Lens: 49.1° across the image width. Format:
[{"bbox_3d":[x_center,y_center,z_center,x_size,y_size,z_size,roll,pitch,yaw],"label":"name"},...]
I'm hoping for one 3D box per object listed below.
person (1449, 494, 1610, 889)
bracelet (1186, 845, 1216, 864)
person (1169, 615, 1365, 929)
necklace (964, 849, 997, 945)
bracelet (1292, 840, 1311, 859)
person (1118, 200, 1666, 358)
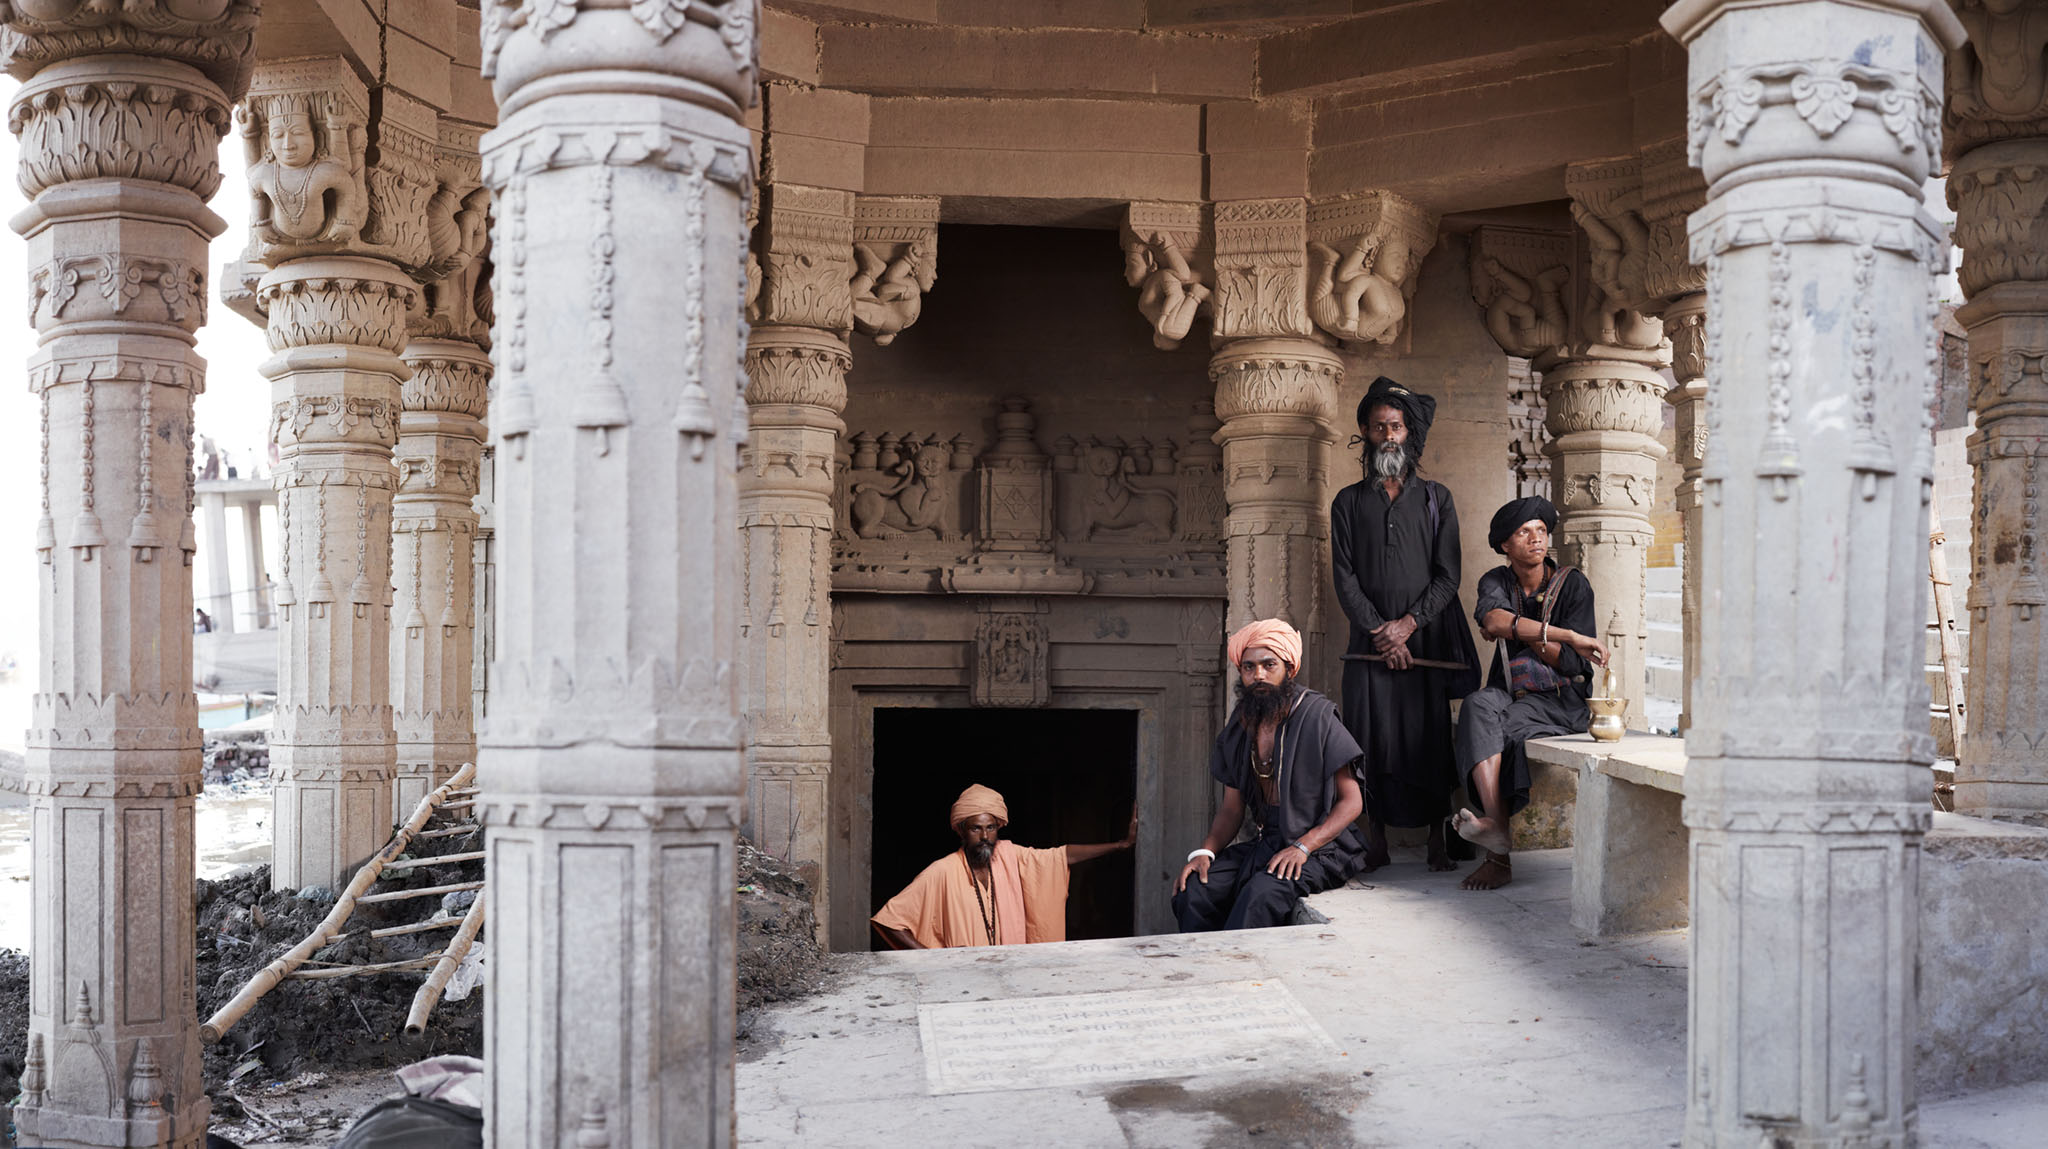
[{"bbox_3d":[2.872,0.662,12.799,0.762,2.072,1.098,0,9,14],"label":"person"},{"bbox_3d":[0.928,1.550,12.325,0.169,0.061,0.164,-5,-3,33],"label":"bracelet"},{"bbox_3d":[1.339,1.114,12.256,0.990,1.625,0.890,0,9,17],"label":"person"},{"bbox_3d":[-0.231,1.919,13.344,0.160,0.482,0.261,-5,9,-17],"label":"necklace"},{"bbox_3d":[1.490,1.483,12.060,0.106,0.093,0.027,2,-9,-19],"label":"bracelet"},{"bbox_3d":[2.152,-1.814,13.995,2.981,1.032,0.889,-4,8,-15],"label":"person"}]
